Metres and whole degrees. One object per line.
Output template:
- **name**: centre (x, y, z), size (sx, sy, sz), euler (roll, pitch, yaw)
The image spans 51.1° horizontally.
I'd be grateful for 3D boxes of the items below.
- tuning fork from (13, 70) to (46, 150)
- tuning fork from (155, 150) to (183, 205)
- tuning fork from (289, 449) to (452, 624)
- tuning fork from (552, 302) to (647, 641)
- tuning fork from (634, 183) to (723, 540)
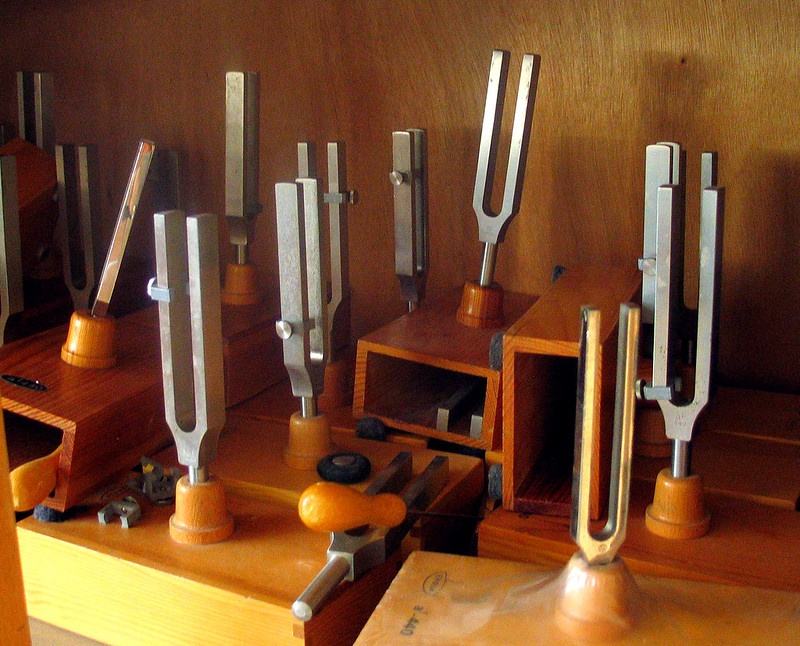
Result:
- **tuning fork**: centre (-0.522, -0.302, 1.188), size (0.070, 0.107, 0.027), euler (9, 17, 28)
- **tuning fork**: centre (-0.345, -0.212, 1.238), size (0.047, 0.089, 0.021), euler (6, 15, 18)
- **tuning fork**: centre (-0.025, 0.165, 0.758), size (0.053, 0.034, 0.227), euler (3, 27, 24)
- **tuning fork**: centre (0.148, 0.099, 0.591), size (0.055, 0.234, 0.080), euler (7, 16, 25)
- **tuning fork**: centre (0.243, 0.035, 0.719), size (0.095, 0.310, 0.056), euler (-8, 17, -31)
